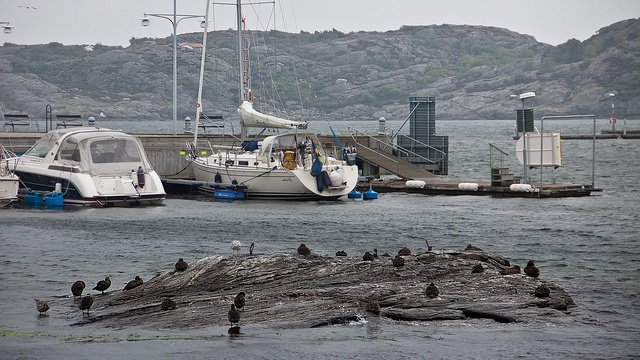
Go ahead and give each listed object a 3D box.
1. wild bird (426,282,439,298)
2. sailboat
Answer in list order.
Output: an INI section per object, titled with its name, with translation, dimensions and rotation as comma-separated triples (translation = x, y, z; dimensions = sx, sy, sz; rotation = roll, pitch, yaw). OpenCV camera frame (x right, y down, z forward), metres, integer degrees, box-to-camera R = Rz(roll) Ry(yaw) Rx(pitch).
[wild bird]
translation = 10.816, 10.597, 108.949
dimensions = 1.334, 1.462, 0.426
rotation = 0, 3, -1
[sailboat]
translation = -5.788, -9.365, 128.738
dimensions = 16.574, 22.925, 5.625
rotation = 2, 3, 26
